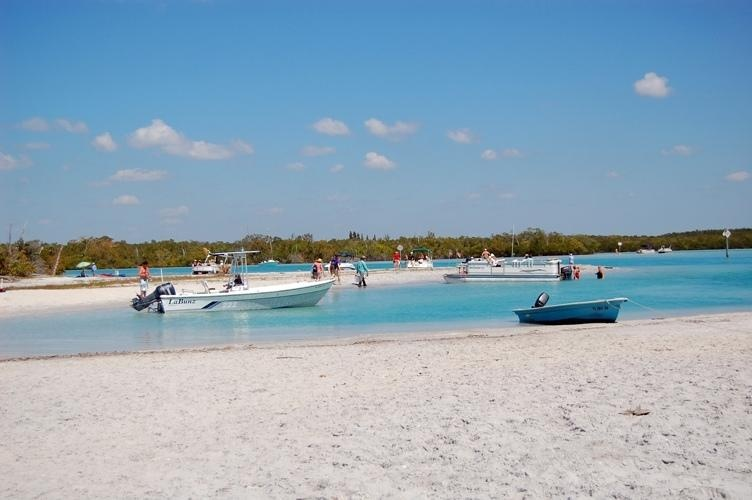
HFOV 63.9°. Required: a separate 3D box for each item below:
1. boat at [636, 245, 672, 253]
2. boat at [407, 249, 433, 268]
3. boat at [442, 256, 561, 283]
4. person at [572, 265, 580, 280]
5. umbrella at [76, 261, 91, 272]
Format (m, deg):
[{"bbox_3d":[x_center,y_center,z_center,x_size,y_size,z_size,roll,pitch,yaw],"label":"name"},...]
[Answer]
[{"bbox_3d":[74.658,-0.453,162.567,10.049,2.115,2.504,0,2,-27],"label":"boat"},{"bbox_3d":[5.829,1.049,81.018,2.725,2.541,3.320,-1,2,4],"label":"boat"},{"bbox_3d":[10.882,1.697,50.228,8.828,1.933,2.244,0,14,8],"label":"boat"},{"bbox_3d":[16.990,1.950,51.435,0.336,1.165,1.405,6,16,29],"label":"person"},{"bbox_3d":[-39.685,2.107,81.735,1.609,0.991,1.510,-3,11,-39],"label":"umbrella"}]
